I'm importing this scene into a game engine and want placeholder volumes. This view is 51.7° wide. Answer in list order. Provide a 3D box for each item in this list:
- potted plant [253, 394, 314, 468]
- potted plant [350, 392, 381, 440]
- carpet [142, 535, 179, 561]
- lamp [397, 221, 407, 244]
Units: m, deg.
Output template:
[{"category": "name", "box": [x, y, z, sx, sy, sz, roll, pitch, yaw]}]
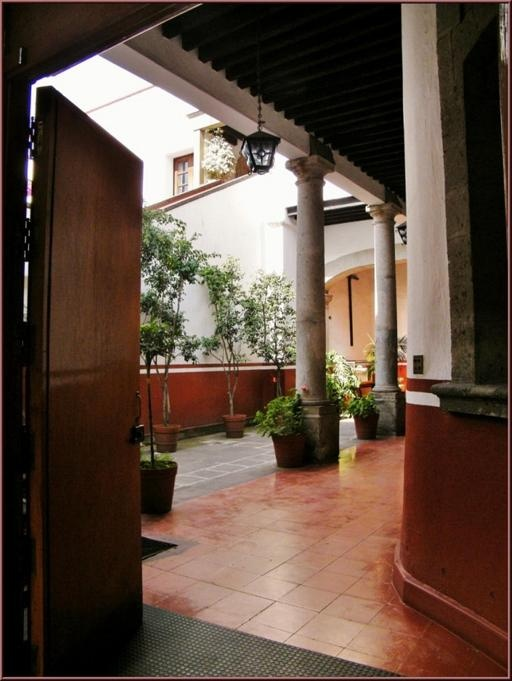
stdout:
[{"category": "potted plant", "box": [0.344, 1.110, 6.526, 0.656, 0.884, 0.490, 0, -3, -7]}, {"category": "potted plant", "box": [1.770, 1.250, 8.659, 0.545, 0.717, 0.488, 0, -3, -12]}, {"category": "carpet", "box": [-0.673, 1.428, 3.673, 0.239, 0.018, 0.466, 0, -3, -13]}, {"category": "lamp", "box": [2.904, -2.183, 10.584, 0.134, 0.459, 1.100, -1, -3, 16]}]
